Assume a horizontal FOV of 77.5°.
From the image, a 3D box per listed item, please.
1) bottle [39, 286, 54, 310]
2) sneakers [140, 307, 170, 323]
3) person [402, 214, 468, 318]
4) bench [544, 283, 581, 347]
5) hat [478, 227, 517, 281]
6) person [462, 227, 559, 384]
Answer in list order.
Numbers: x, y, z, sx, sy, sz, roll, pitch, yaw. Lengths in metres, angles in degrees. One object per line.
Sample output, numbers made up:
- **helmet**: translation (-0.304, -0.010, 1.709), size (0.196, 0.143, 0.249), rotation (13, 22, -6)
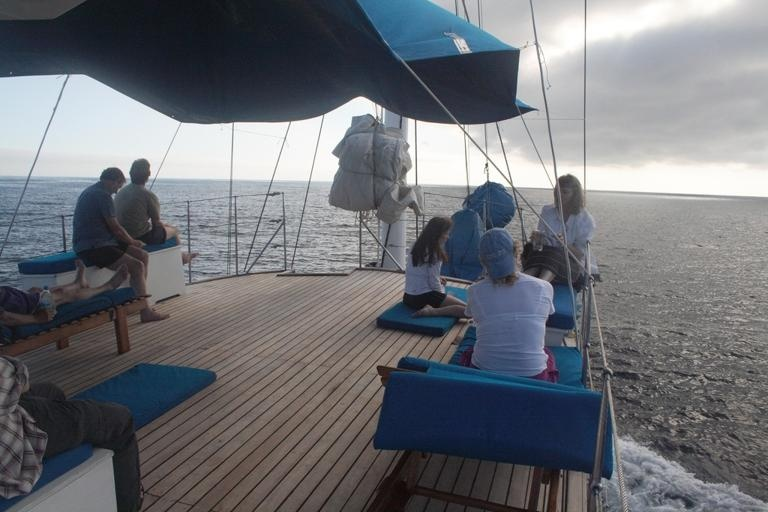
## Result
- **bottle**: translation (-3.107, 0.373, 4.374), size (0.125, 0.189, 0.289), rotation (-3, 10, -33)
- **sneakers**: translation (-2.653, 0.657, 5.554), size (0.335, 0.225, 0.127), rotation (-5, 12, -25)
- **person**: translation (0.646, 0.063, 5.582), size (0.826, 1.052, 0.778), rotation (7, 9, -10)
- **bench**: translation (1.711, 0.580, 4.550), size (0.411, 0.311, 0.643), rotation (3, 22, 12)
- **hat**: translation (0.862, -0.080, 3.665), size (0.307, 0.244, 0.466), rotation (-15, 30, 9)
- **person**: translation (1.046, 0.348, 4.076), size (0.853, 1.236, 1.236), rotation (-3, 10, 8)
